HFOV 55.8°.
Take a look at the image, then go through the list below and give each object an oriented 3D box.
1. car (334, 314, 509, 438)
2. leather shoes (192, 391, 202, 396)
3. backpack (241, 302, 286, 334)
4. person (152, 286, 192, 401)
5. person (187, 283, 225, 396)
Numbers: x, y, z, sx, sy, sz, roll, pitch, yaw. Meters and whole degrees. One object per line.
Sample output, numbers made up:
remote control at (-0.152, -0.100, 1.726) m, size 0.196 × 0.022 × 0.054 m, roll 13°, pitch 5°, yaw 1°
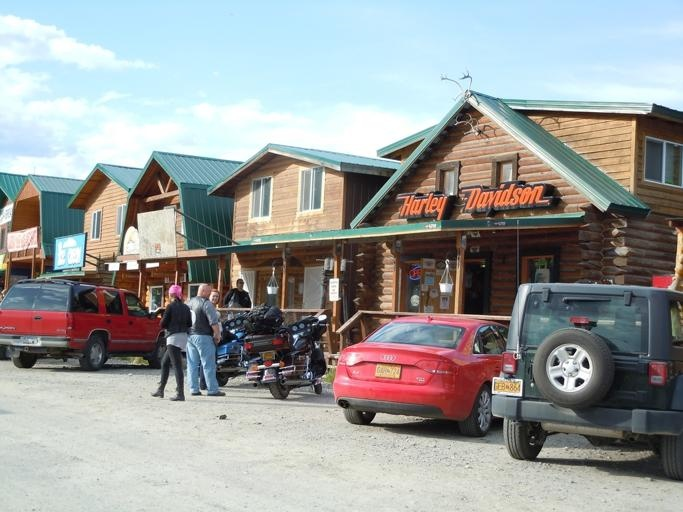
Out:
car at (1.517, 1.802, 10.428) m, size 1.521 × 0.986 × 3.275 m, roll -1°, pitch -2°, yaw 29°
leather shoes at (-3.038, 2.895, 13.525) m, size 0.170 × 0.106 × 0.083 m, roll 11°, pitch -11°, yaw -19°
backpack at (-1.690, 1.392, 13.885) m, size 0.807 × 0.588 × 0.416 m, roll -10°, pitch -38°, yaw 2°
person at (-3.474, 1.772, 13.271) m, size 0.706 × 2.280 × 1.557 m, roll 2°, pitch -4°, yaw -15°
person at (-2.897, 1.768, 13.480) m, size 0.756 × 2.335 × 0.628 m, roll 0°, pitch -4°, yaw 18°
